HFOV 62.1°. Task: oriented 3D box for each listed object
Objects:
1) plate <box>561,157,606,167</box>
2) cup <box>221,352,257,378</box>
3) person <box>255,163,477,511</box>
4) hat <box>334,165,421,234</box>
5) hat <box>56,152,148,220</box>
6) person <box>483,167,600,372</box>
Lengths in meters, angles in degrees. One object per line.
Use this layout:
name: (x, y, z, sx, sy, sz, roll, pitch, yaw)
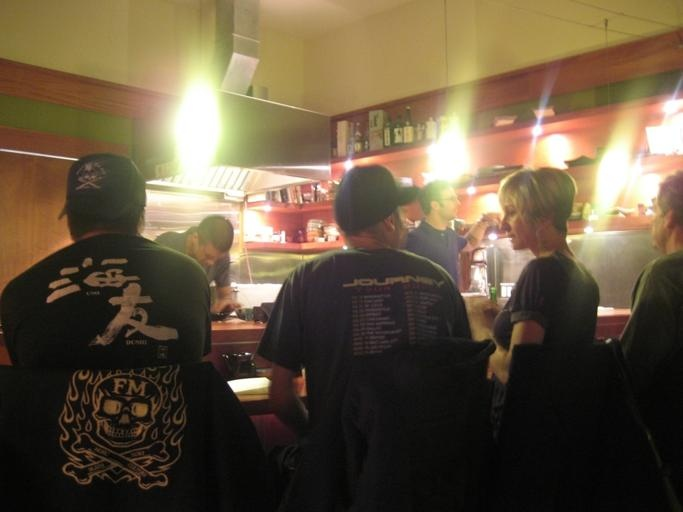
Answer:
plate: (1.919, -0.749, 4.549, 0.294, 0.105, 0.097, 8, 11, 42)
cup: (-0.419, 0.445, 2.328, 0.130, 0.091, 0.070, -3, 9, -27)
person: (0.073, 0.239, 1.834, 0.666, 1.064, 0.551, -1, 8, -12)
hat: (0.117, -0.209, 1.982, 0.264, 0.143, 0.181, -37, 34, -25)
hat: (-0.767, -0.226, 1.850, 0.187, 0.150, 0.275, 2, 4, 11)
person: (0.794, 0.041, 2.193, 0.388, 0.763, 0.559, 3, 8, 15)
